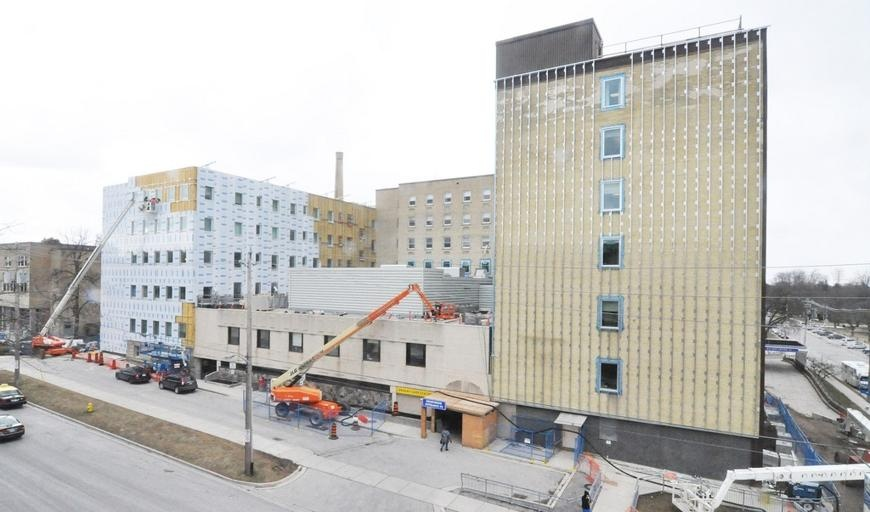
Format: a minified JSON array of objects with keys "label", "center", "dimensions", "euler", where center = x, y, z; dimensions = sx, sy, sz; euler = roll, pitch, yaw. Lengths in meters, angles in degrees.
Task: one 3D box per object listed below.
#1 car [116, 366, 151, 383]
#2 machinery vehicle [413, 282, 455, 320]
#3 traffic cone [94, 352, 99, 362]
[{"label":"car","center":[-34.403,13.511,93.410],"dimensions":[3.528,1.809,1.706],"euler":[0,-6,21]},{"label":"machinery vehicle","center":[0.018,4.967,88.487],"dimensions":[5.683,3.773,2.351],"euler":[-4,8,32]},{"label":"traffic cone","center":[-41.455,12.471,100.415],"dimensions":[0.435,1.002,1.102],"euler":[5,-6,-21]}]
